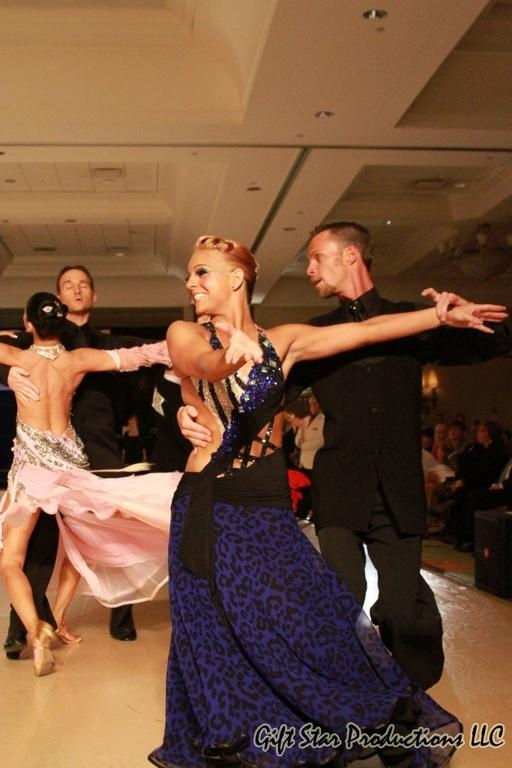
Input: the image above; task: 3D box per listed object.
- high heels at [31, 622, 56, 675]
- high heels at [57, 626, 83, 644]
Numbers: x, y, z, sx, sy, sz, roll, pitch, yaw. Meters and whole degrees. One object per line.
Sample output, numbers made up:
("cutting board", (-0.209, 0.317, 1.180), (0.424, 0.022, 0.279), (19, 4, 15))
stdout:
("high heels", (-0.866, 1.075, 2.548), (0.093, 0.222, 0.106), (-1, 0, -19))
("high heels", (-0.909, 1.229, 3.032), (0.160, 0.088, 0.054), (0, 9, 8))
